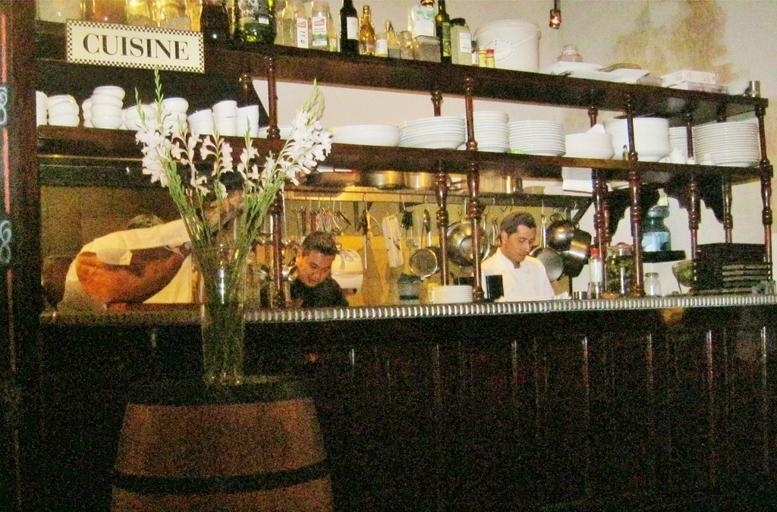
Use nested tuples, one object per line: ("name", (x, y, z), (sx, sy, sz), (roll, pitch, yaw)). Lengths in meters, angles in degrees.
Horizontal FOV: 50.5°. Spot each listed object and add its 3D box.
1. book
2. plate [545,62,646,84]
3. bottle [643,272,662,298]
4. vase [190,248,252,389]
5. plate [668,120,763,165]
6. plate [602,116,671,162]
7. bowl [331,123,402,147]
("book", (2.040, 0.108, 4.906), (0.358, 0.243, 0.333), (1, -4, -30))
("plate", (1.187, -1.040, 4.691), (0.403, 0.056, 0.230), (-1, 4, -30))
("bottle", (1.531, 0.176, 4.818), (0.119, 0.167, 0.167), (-2, -10, 20))
("vase", (-0.579, 0.202, 2.860), (0.171, 0.474, 0.184), (-1, 2, -12))
("plate", (1.984, -0.667, 5.014), (0.399, 0.177, 0.400), (0, -3, 3))
("plate", (1.452, -0.682, 4.804), (0.301, 0.189, 0.295), (2, -3, -44))
("bowl", (-0.117, -0.610, 4.224), (0.231, 0.077, 0.228), (1, -4, 0))
